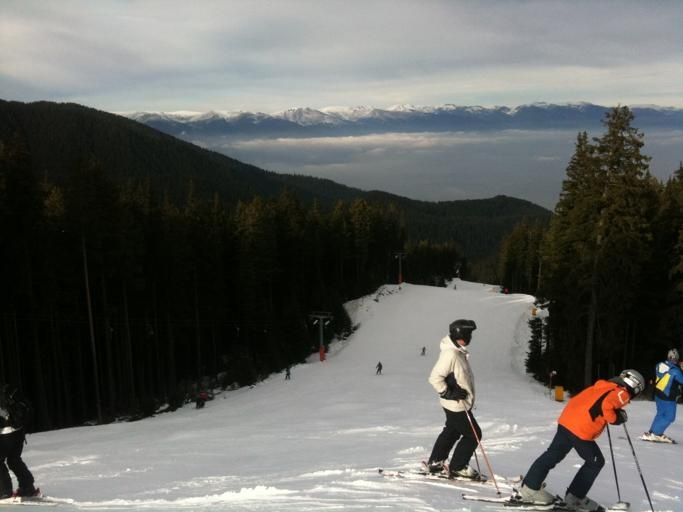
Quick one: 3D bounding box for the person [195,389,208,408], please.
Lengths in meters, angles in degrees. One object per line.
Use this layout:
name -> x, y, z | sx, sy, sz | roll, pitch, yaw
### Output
person -> -9.380, 9.655, 56.418 | 0.728, 0.885, 1.544 | 2, -9, -7

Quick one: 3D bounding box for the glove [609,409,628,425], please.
glove -> 11.061, 6.392, 33.517 | 0.493, 0.702, 0.661 | -1, -1, 6

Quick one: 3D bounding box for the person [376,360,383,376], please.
person -> 2.856, 8.463, 63.229 | 0.571, 1.455, 0.444 | 6, 14, 15
